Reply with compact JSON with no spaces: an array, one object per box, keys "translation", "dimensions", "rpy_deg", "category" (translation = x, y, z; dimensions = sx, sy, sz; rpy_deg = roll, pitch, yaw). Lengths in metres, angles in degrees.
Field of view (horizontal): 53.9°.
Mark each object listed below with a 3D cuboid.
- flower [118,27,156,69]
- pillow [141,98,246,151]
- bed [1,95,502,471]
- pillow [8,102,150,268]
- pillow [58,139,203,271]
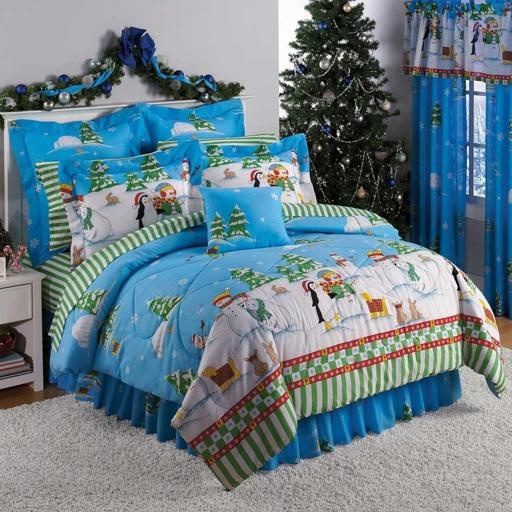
[{"translation":[-0.736,-1.284,3.099],"dimensions":[0.244,0.239,0.072],"rpy_deg":[-9,9,-35],"category":"flower"},{"translation":[-0.418,-0.827,3.176],"dimensions":[0.536,0.330,0.114],"rpy_deg":[-6,-25,-28],"category":"pillow"},{"translation":[-0.166,-0.024,2.255],"dimensions":[1.510,0.967,1.687],"rpy_deg":[-15,25,-35],"category":"bed"},{"translation":[-0.962,-0.364,2.658],"dimensions":[0.196,0.769,0.795],"rpy_deg":[-9,0,42],"category":"pillow"},{"translation":[-0.616,-0.228,2.441],"dimensions":[0.667,0.464,0.137],"rpy_deg":[-17,-8,-33],"category":"pillow"}]
